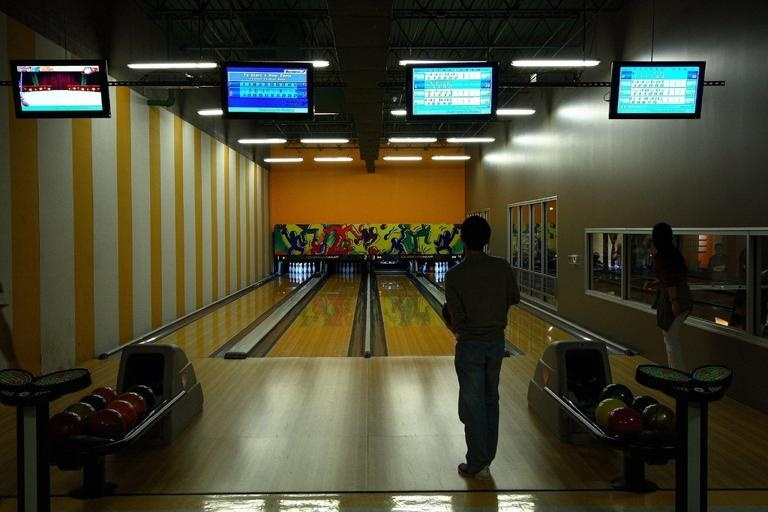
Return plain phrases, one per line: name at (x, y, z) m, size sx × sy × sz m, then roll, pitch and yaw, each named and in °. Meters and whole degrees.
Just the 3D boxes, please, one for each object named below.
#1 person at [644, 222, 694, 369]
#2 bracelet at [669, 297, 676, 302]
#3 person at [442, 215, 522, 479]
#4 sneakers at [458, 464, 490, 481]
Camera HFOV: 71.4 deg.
person at (2.819, 0.397, 5.298) m, size 0.181 × 1.409 × 0.371 m, roll -7°, pitch 11°, yaw -37°
bracelet at (2.809, 0.433, 5.195) m, size 0.052 × 0.051 × 0.026 m, roll 5°, pitch 10°, yaw 24°
person at (0.724, 0.711, 4.112) m, size 0.554 × 2.008 × 0.335 m, roll 3°, pitch 9°, yaw 14°
sneakers at (0.703, 1.684, 4.182) m, size 0.211 × 0.105 × 0.100 m, roll 4°, pitch -1°, yaw 30°
